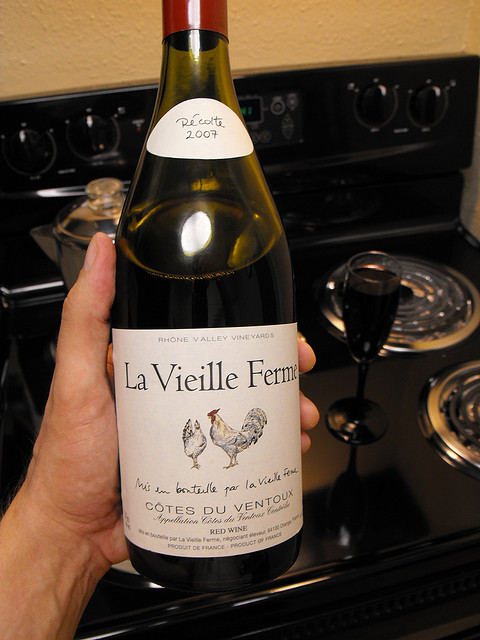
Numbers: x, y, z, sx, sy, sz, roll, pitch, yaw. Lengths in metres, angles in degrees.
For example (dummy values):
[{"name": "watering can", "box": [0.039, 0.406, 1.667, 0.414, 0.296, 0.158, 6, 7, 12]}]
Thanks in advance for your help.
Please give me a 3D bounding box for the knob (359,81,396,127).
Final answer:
[{"name": "knob", "box": [0.181, -0.285, 0.736, 0.038, 0.051, 0.039, -16, 29, -29]}]
